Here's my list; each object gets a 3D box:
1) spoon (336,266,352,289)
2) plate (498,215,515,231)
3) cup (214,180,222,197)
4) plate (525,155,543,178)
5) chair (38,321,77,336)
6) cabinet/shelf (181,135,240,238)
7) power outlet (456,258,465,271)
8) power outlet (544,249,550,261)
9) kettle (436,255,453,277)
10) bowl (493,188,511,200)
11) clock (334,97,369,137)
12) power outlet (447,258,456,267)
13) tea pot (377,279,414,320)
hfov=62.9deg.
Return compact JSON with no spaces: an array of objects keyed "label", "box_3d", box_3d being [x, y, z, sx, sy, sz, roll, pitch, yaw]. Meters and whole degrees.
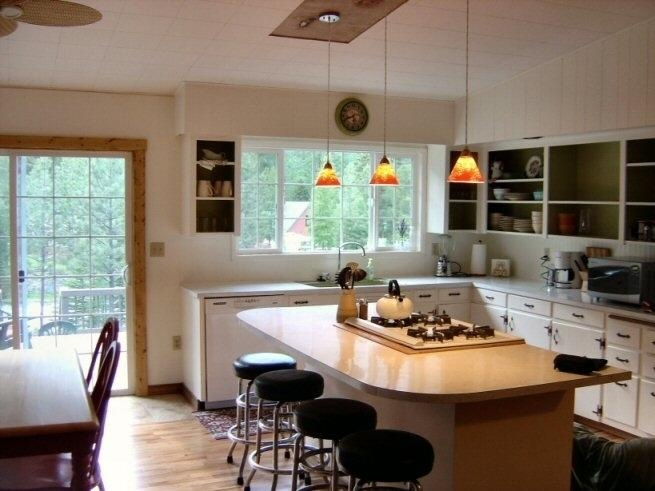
[{"label":"spoon","box_3d":[0.122,0.221,3.693,0.045,0.143,0.121,9,18,24]},{"label":"plate","box_3d":[2.023,-0.250,6.001,0.163,0.102,0.154,1,5,3]},{"label":"cup","box_3d":[-1.082,-0.568,5.285,0.091,0.157,0.045,-6,8,-21]},{"label":"plate","box_3d":[2.251,-0.859,5.776,0.056,0.218,0.222,5,30,-19]},{"label":"chair","box_3d":[-2.634,0.807,5.237,0.210,0.155,0.226,1,-4,-21]},{"label":"cabinet/shelf","box_3d":[-1.107,-0.579,5.282,0.504,0.934,0.141,-4,8,-8]},{"label":"power outlet","box_3d":[1.631,0.227,6.539,0.166,0.137,0.052,-1,7,-6]},{"label":"power outlet","box_3d":[2.409,0.091,5.869,0.072,0.135,0.124,0,8,21]},{"label":"kettle","box_3d":[1.384,0.233,6.393,0.265,0.255,0.204,-5,8,-31]},{"label":"bowl","box_3d":[1.970,-0.584,6.036,0.144,0.091,0.139,0,3,0]},{"label":"clock","box_3d":[0.265,-1.373,5.738,0.405,0.367,0.090,8,2,-29]},{"label":"power outlet","box_3d":[1.502,0.203,6.446,0.101,0.090,0.057,1,9,13]},{"label":"tea pot","box_3d":[0.468,0.344,3.645,0.278,0.260,0.271,0,4,0]}]
